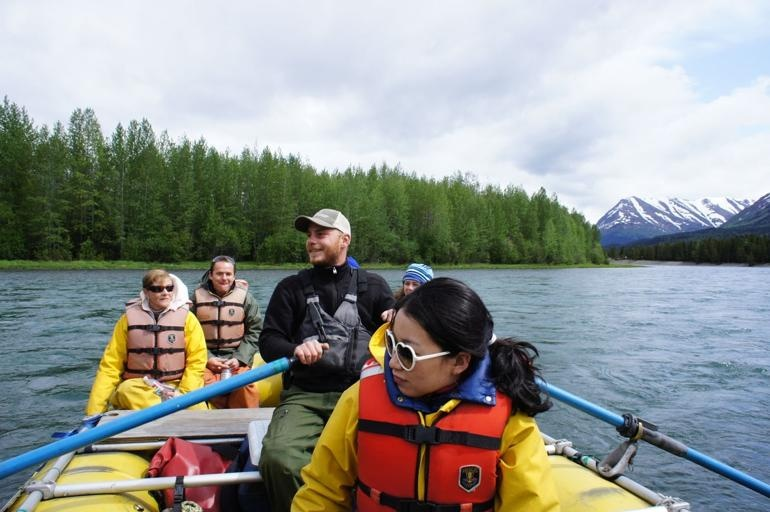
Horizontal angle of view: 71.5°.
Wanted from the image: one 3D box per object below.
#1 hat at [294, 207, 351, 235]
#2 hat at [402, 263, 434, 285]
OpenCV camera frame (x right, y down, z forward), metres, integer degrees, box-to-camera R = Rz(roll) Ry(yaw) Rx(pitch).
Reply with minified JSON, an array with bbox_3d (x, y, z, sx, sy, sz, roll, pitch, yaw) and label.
[{"bbox_3d":[-0.684,-0.435,6.144,0.516,0.250,0.335,23,-17,-40],"label":"hat"},{"bbox_3d":[0.528,0.247,8.212,0.292,0.309,0.405,24,15,31],"label":"hat"}]
